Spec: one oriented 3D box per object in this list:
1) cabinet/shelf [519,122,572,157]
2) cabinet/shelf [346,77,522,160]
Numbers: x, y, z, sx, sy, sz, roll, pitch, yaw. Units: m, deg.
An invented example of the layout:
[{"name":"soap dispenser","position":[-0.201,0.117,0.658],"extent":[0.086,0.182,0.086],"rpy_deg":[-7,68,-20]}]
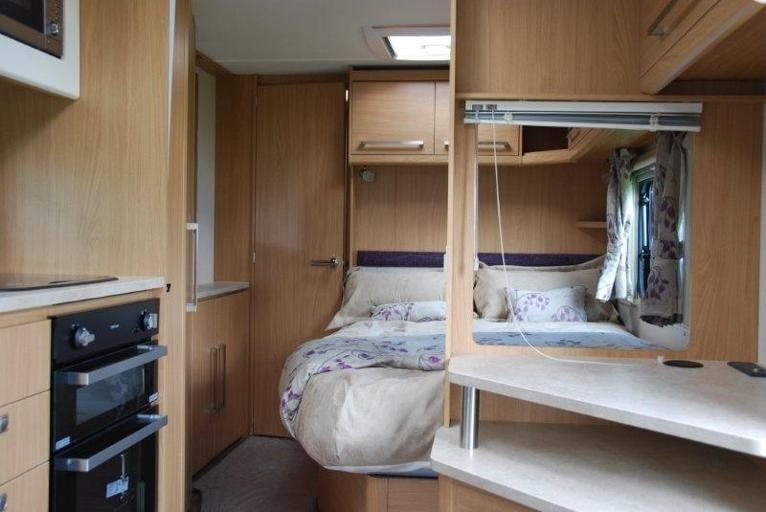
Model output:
[{"name":"cabinet/shelf","position":[0.638,-0.456,2.176],"extent":[0.163,0.117,0.090],"rpy_deg":[-1,11,-2]},{"name":"cabinet/shelf","position":[0.383,-0.909,4.054],"extent":[1.179,0.610,0.422],"rpy_deg":[1,-8,6]}]
